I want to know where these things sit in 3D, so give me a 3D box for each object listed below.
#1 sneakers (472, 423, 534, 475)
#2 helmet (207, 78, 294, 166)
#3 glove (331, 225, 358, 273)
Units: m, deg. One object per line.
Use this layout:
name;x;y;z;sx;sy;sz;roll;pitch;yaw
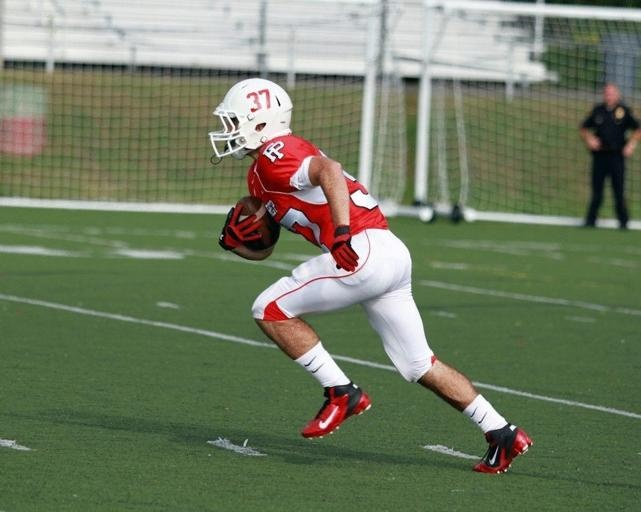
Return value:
sneakers;1.041;1.110;4.964;0.279;0.299;0.132;0;16;-22
helmet;-0.356;-0.839;5.355;0.662;0.379;0.407;1;10;21
glove;0.136;-0.033;4.661;0.148;0.271;0.154;7;15;2
